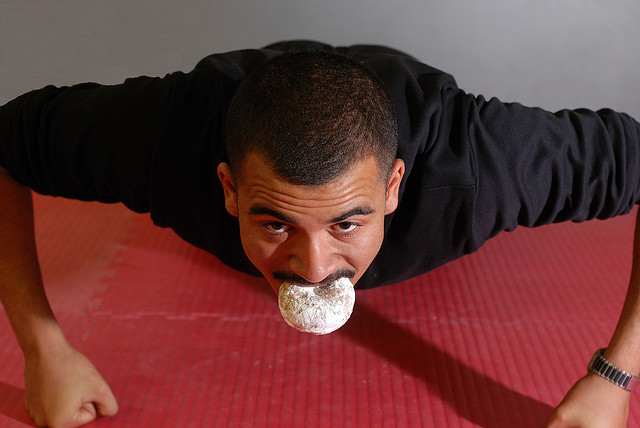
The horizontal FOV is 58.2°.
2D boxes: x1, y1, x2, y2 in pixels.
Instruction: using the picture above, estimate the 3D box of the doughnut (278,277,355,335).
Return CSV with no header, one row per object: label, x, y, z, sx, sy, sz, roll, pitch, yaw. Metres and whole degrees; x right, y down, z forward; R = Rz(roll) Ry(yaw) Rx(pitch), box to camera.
doughnut,-0.011,0.290,1.816,0.235,0.183,0.074,-3,28,1
